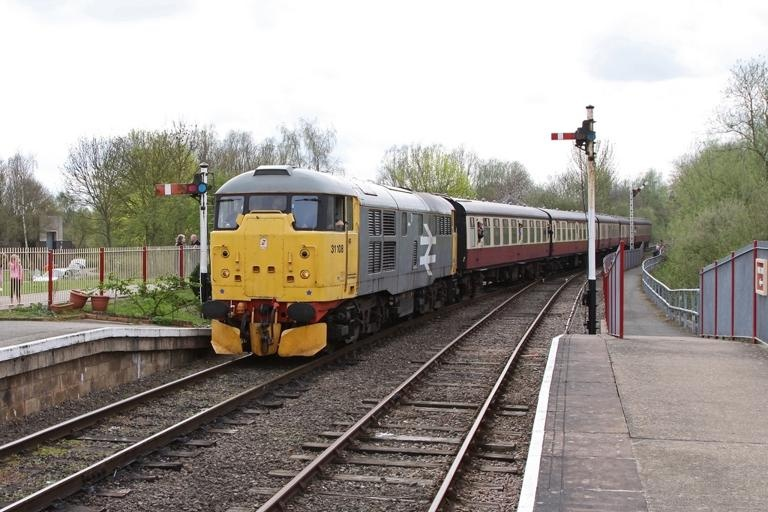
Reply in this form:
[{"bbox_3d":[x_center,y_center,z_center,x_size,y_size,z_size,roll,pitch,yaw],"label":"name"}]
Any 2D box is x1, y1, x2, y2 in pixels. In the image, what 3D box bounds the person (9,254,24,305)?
[{"bbox_3d":[-10.593,0.667,18.548,0.373,1.429,0.368,-6,3,-32],"label":"person"}]
